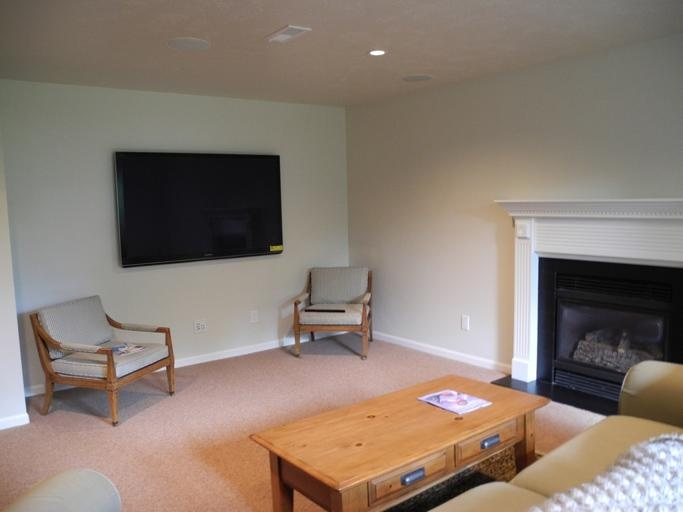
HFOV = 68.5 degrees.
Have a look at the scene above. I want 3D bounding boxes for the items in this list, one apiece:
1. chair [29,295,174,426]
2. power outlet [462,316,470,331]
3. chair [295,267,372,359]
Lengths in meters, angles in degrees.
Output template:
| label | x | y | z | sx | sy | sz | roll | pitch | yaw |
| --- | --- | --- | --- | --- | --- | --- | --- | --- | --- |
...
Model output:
| label | x | y | z | sx | sy | sz | roll | pitch | yaw |
| --- | --- | --- | --- | --- | --- | --- | --- | --- | --- |
| chair | -2.046 | 0.842 | 4.284 | 0.873 | 0.881 | 0.805 | 2 | 10 | 25 |
| power outlet | 1.247 | 0.663 | 5.015 | 0.016 | 0.172 | 0.116 | -7 | 15 | -36 |
| chair | -0.067 | 0.595 | 5.590 | 1.048 | 0.950 | 1.029 | 1 | 3 | 45 |
